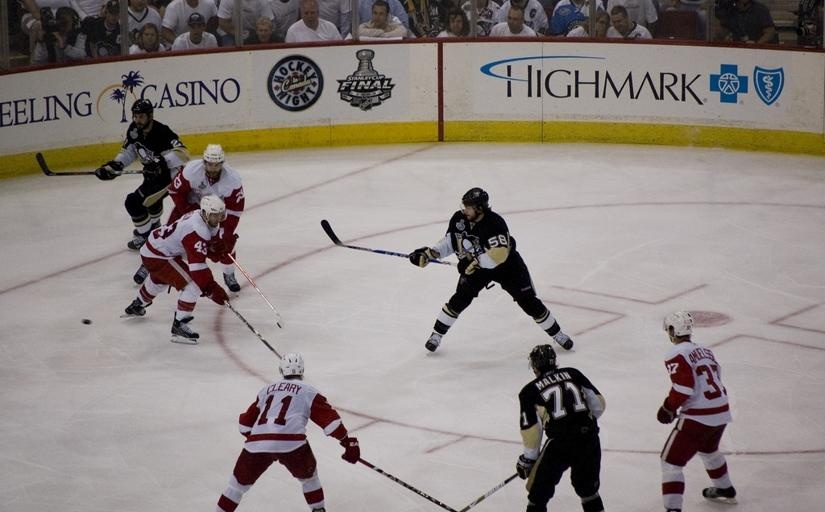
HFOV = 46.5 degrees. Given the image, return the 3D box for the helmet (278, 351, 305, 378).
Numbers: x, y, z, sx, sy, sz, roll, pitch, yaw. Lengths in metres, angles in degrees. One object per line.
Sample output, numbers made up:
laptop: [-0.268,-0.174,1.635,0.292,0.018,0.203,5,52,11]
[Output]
helmet: [-1.011,0.918,8.076,0.190,0.214,0.233,0,11,-7]

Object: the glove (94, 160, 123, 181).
glove: [-3.633,-1.028,11.558,0.385,0.152,0.275,-19,21,-15]

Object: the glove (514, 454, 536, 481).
glove: [0.921,1.728,7.926,0.193,0.191,0.147,5,15,-5]

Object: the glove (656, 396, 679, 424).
glove: [2.154,1.318,8.131,0.178,0.241,0.095,35,46,-1]

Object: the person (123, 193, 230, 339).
person: [-2.321,0.030,10.417,1.268,1.508,1.049,16,23,21]

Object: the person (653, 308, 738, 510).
person: [2.325,1.325,8.103,0.792,1.630,0.537,-11,12,-31]

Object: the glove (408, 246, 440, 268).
glove: [0.117,0.016,10.054,0.271,0.121,0.197,-19,1,-38]

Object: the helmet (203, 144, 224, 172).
helmet: [-2.163,-1.089,10.546,0.252,0.306,0.299,0,54,-8]

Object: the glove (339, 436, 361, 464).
glove: [-0.503,1.634,8.066,0.222,0.206,0.090,8,19,29]

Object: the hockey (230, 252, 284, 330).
hockey: [-1.761,0.439,10.889,0.096,1.136,0.160,-28,34,17]

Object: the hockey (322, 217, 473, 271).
hockey: [-0.309,-0.163,10.842,1.992,0.321,0.165,9,13,41]

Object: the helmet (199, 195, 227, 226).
helmet: [-2.041,-0.449,9.860,0.237,0.323,0.202,-8,11,-16]

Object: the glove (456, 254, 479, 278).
glove: [0.577,0.103,9.770,0.239,0.211,0.139,-2,11,15]

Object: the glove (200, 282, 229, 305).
glove: [-2.050,0.391,9.937,0.234,0.262,0.248,-7,10,-14]

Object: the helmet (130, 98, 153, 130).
helmet: [-3.165,-1.650,11.268,0.228,0.345,0.269,-8,10,-16]

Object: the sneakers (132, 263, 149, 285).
sneakers: [-3.108,0.220,10.991,0.101,0.084,0.228,-36,39,34]

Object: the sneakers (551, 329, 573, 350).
sneakers: [1.551,0.870,9.874,0.269,0.140,0.092,34,51,-9]

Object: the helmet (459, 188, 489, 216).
helmet: [0.662,-0.564,9.696,0.313,0.283,0.233,14,39,-10]

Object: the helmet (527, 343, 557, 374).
helmet: [1.073,0.855,8.019,0.216,0.246,0.257,2,13,4]

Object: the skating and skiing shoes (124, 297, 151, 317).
skating and skiing shoes: [-3.003,0.559,10.494,0.331,0.187,0.164,0,42,-9]

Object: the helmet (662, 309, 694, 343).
helmet: [2.232,0.601,8.286,0.255,0.298,0.279,-3,13,-14]

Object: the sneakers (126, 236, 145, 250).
sneakers: [-3.369,-0.152,11.739,0.333,0.094,0.141,-14,-12,28]
